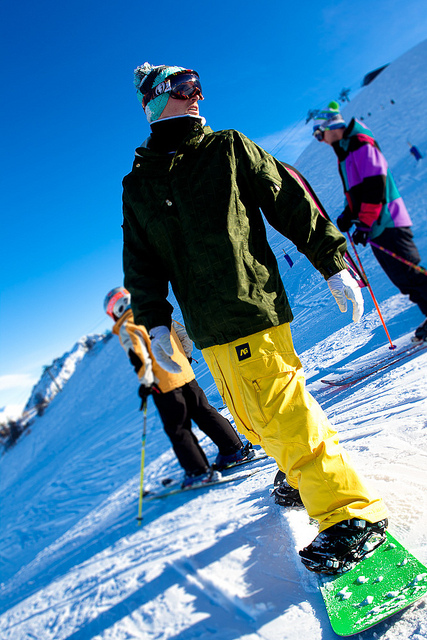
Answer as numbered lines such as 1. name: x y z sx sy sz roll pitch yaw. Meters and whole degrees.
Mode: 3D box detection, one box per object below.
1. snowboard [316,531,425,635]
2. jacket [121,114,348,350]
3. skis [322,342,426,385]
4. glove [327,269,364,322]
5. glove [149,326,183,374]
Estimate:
1. snowboard: 0.678 1.120 2.211 0.447 0.111 0.394 -25 3 1
2. jacket: 0.009 -0.514 2.920 1.362 1.214 0.454 -12 10 28
3. skis: 1.811 0.493 5.778 0.962 0.074 0.108 -28 34 16
4. glove: 0.671 -0.134 2.655 0.170 0.278 0.073 -22 3 45
5. glove: -0.290 0.163 3.065 0.211 0.273 0.110 -14 16 40
